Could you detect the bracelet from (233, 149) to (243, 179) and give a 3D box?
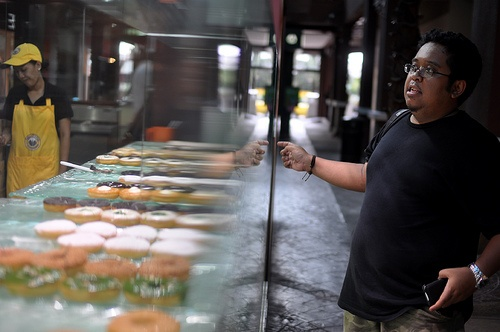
[{"bbox_3d":[-0.031,-0.006,1.088,0.013,0.053,0.039,3,12,5],"label":"bracelet"}]

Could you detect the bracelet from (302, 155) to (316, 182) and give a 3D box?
[{"bbox_3d":[0.279,0.013,2.058,0.033,0.102,0.084,23,-1,1],"label":"bracelet"}]

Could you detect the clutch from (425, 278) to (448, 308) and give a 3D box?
[{"bbox_3d":[0.604,0.411,1.450,0.068,0.096,0.040,7,10,21],"label":"clutch"}]

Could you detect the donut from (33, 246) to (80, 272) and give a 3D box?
[{"bbox_3d":[-0.361,0.177,0.840,0.058,0.014,0.055,4,3,7],"label":"donut"}]

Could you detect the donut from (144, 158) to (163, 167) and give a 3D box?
[{"bbox_3d":[-0.171,-0.005,0.771,0.034,0.017,0.008,6,10,19],"label":"donut"}]

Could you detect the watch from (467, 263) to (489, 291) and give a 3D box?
[{"bbox_3d":[0.746,0.359,1.443,0.052,0.072,0.079,-31,-14,2],"label":"watch"}]

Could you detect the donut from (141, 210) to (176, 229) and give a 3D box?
[{"bbox_3d":[-0.163,0.095,0.790,0.039,0.012,0.039,2,0,29],"label":"donut"}]
